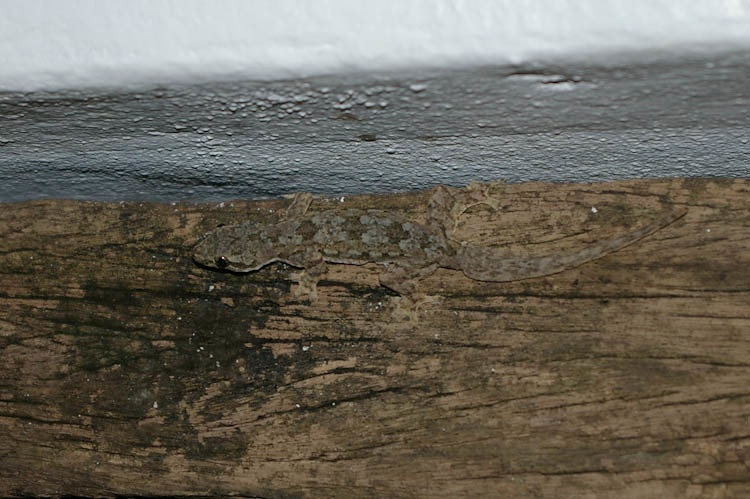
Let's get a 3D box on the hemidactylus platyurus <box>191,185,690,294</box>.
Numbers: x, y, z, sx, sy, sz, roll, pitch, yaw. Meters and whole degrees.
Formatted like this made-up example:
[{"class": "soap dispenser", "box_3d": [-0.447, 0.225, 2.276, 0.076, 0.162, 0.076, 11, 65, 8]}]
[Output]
[{"class": "hemidactylus platyurus", "box_3d": [0.201, -0.001, 3.409, 1.777, 0.123, 0.342, -5, 30, 8]}]
